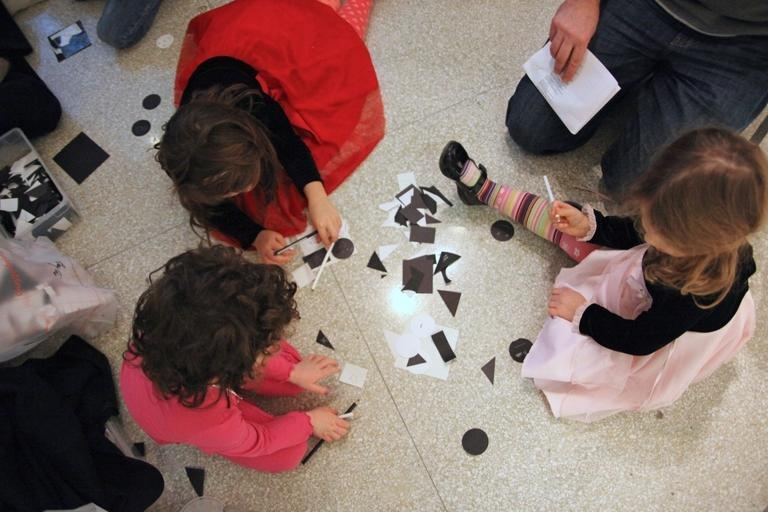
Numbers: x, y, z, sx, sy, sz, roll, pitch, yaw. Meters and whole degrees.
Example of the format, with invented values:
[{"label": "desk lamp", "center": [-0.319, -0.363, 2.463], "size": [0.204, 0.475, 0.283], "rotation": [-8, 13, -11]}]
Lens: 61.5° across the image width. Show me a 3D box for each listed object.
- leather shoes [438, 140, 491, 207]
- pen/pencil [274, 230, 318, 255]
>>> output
[{"label": "leather shoes", "center": [0.350, -0.315, 2.623], "size": [0.135, 0.323, 0.123], "rotation": [26, 70, 41]}, {"label": "pen/pencil", "center": [-0.362, -0.052, 2.629], "size": [0.159, 0.023, 0.023], "rotation": [-29, 60, -15]}]
